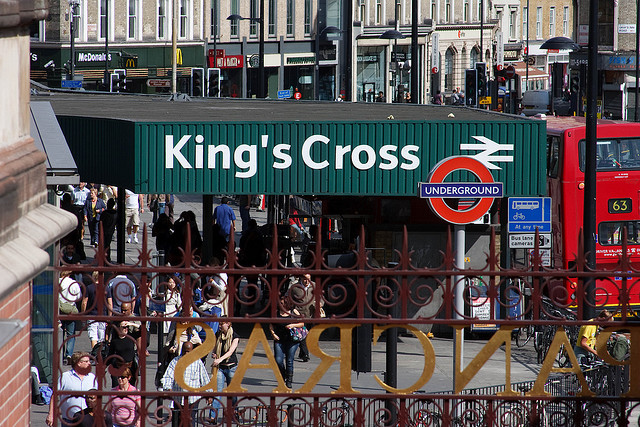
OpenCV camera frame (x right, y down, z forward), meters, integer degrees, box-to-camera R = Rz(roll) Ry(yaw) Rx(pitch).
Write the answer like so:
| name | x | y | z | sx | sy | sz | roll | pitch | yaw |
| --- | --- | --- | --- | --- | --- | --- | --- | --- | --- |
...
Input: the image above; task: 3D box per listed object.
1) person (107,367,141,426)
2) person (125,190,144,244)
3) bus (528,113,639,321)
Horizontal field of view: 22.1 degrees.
| name | x | y | z | sx | sy | sz | roll | pitch | yaw |
| --- | --- | --- | --- | --- | --- | --- | --- | --- | --- |
| person | -3.473 | 3.311 | 29.058 | 0.570 | 1.249 | 2.468 | -1 | 9 | -8 |
| person | -5.167 | -0.149 | 45.473 | 0.564 | 1.950 | 0.596 | 1 | -21 | -6 |
| bus | 6.443 | -0.075 | 38.717 | 2.445 | 5.148 | 13.731 | 1 | 9 | 8 |
